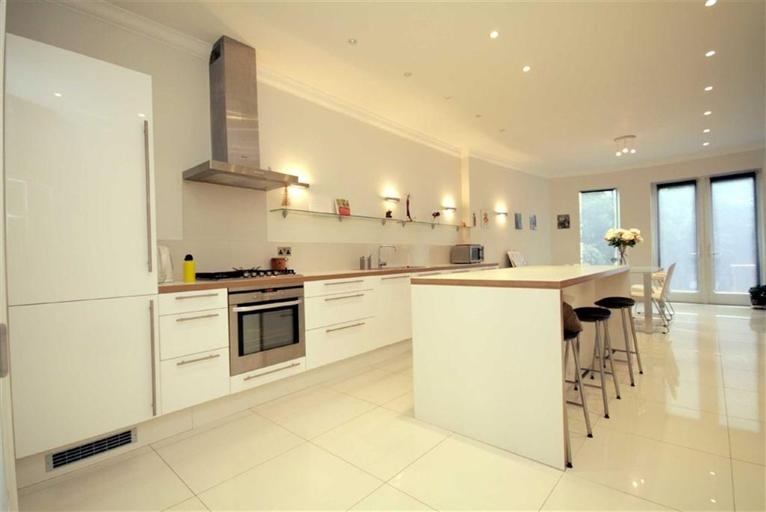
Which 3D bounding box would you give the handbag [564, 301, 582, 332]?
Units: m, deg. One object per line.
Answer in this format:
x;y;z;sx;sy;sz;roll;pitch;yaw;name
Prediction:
1.594;0.511;4.225;0.066;0.202;0.219;-9;-32;45;handbag

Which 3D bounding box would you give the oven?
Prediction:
-1.213;0.726;5.185;0.719;0.948;1.038;-6;-5;41;oven

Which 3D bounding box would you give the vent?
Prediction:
-1.547;-1.486;5.182;0.977;1.532;0.608;-3;3;-25;vent

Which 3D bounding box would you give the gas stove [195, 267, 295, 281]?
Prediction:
-1.410;0.172;5.123;0.975;0.079;0.647;-2;2;-26;gas stove

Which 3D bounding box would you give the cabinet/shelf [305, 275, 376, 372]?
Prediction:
-0.609;0.714;5.730;1.046;0.900;0.529;-7;10;-42;cabinet/shelf

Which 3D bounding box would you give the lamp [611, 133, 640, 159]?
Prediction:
3.970;-1.791;8.135;0.440;0.379;0.107;-5;32;0;lamp

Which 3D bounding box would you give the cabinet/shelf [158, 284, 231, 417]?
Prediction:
-1.909;0.793;4.805;0.701;1.073;0.755;-5;11;-31;cabinet/shelf

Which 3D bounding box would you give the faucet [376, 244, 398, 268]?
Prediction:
0.070;-0.002;6.922;0.153;0.309;0.494;0;3;31;faucet

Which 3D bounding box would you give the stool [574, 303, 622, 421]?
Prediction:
2.086;0.847;4.698;0.432;0.620;0.481;8;-2;17;stool

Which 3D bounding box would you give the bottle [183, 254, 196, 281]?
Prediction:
-1.824;0.111;4.685;0.094;0.249;0.099;-1;3;0;bottle

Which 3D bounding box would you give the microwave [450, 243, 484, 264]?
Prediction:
1.325;0.025;8.083;0.327;0.284;0.468;-1;-2;33;microwave

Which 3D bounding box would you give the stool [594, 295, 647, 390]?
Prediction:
2.615;0.929;5.615;0.621;0.780;0.715;-1;11;42;stool

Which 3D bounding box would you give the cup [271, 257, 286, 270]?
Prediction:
-1.194;0.080;5.595;0.143;0.127;0.139;-1;-2;0;cup

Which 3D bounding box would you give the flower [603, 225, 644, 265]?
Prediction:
3.200;-0.157;6.626;0.394;0.364;0.354;14;-2;-12;flower
